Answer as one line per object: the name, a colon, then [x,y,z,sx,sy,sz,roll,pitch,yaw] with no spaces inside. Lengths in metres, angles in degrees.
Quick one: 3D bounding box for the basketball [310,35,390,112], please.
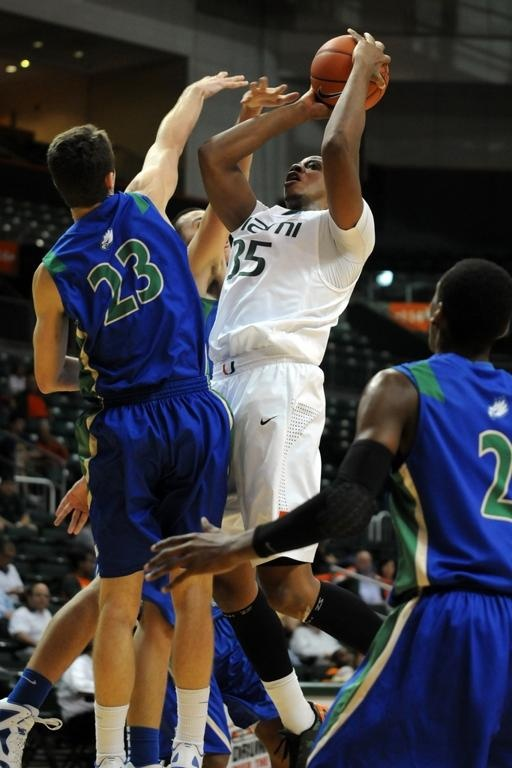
basketball: [0.375,-1.197,3.497,0.247,0.246,0.219,12,30,-12]
